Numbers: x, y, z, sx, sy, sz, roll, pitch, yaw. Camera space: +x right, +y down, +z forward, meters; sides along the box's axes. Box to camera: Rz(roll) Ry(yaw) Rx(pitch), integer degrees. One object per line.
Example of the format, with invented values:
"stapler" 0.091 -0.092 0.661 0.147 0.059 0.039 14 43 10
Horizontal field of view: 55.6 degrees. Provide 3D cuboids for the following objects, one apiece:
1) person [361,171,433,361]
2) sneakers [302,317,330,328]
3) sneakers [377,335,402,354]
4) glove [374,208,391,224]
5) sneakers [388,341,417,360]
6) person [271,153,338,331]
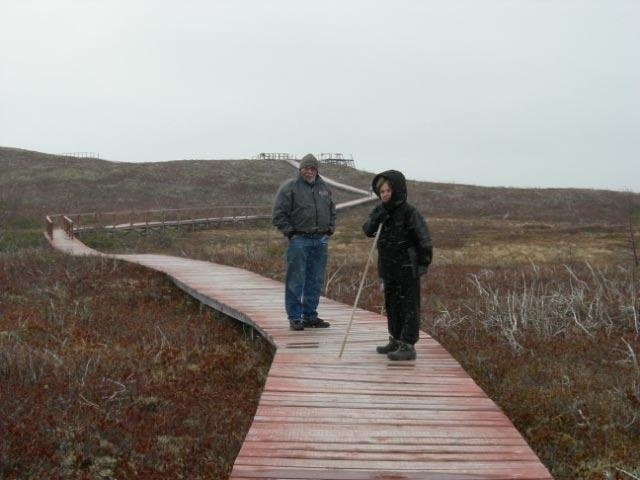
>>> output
"person" 0.935 0.320 7.258 0.846 2.287 0.309 10 13 37
"sneakers" -0.064 1.130 8.525 0.380 0.215 0.155 0 0 -2
"sneakers" 0.866 1.315 7.542 0.127 0.198 0.355 1 -4 -40
"glove" 0.738 -0.305 7.243 0.067 0.203 0.134 -1 2 -42
"sneakers" 1.009 1.351 7.457 0.377 0.335 0.156 2 0 2
"person" -0.213 0.037 8.361 0.878 2.443 0.637 -2 11 -19
